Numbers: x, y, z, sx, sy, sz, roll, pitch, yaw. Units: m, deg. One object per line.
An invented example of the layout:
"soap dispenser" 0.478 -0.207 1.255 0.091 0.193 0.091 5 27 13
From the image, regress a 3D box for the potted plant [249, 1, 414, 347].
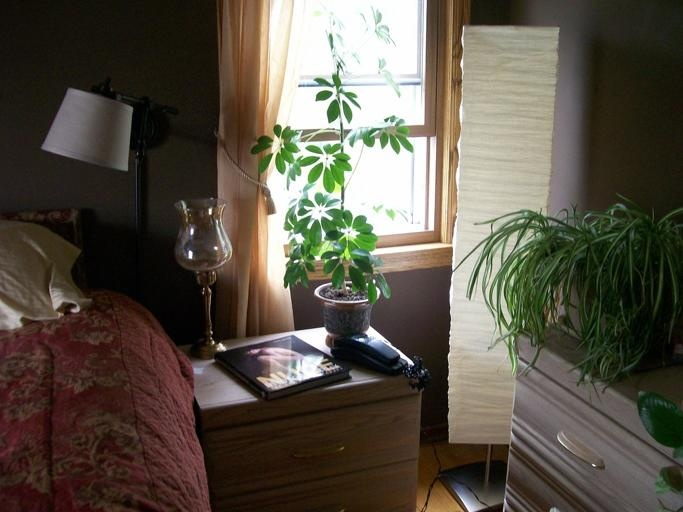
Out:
"potted plant" -0.023 -0.416 2.217 0.617 1.310 0.728 0 9 7

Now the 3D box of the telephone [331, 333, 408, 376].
"telephone" 0.102 0.332 1.984 0.185 0.072 0.148 11 11 29
